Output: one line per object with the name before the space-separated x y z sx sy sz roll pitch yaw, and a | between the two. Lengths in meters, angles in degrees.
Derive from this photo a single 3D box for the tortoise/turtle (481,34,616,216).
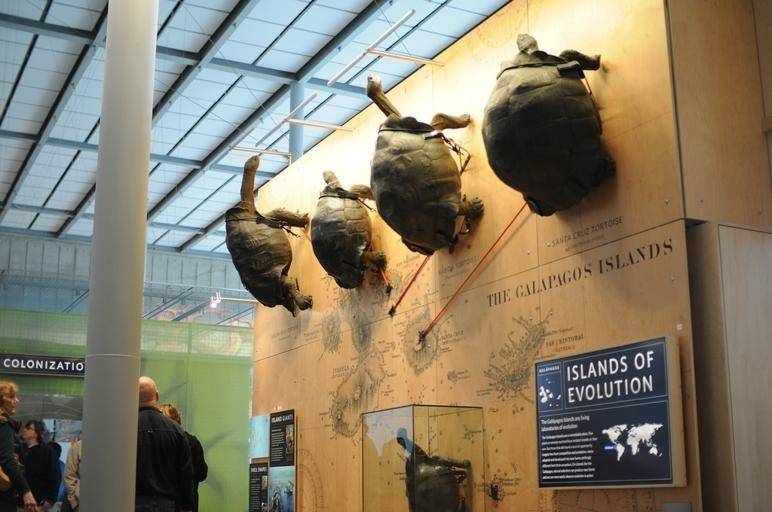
tortoise/turtle | 1.986 -1.567 10.522 1.335 2.202 1.209 5 2 8

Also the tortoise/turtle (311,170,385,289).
tortoise/turtle | -0.660 -0.441 13.435 0.934 1.926 0.948 -3 4 -36

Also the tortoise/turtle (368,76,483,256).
tortoise/turtle | 0.419 -1.322 11.897 1.416 2.538 1.826 -1 4 -5

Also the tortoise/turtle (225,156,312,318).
tortoise/turtle | -2.256 -0.424 14.813 0.925 2.715 1.799 3 -18 -41
